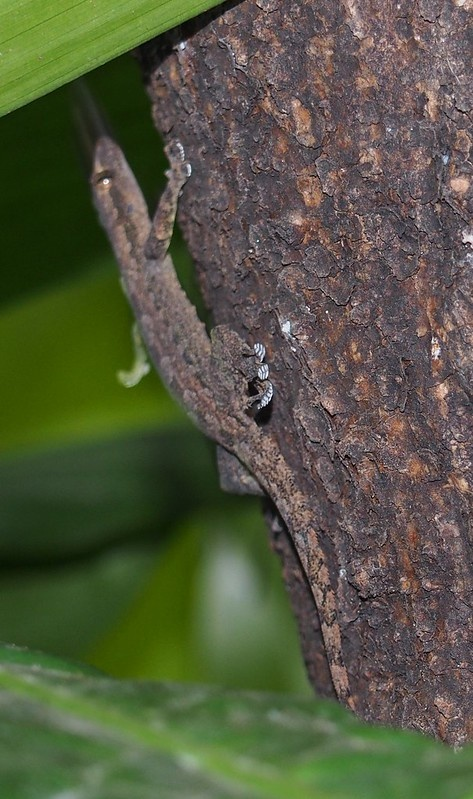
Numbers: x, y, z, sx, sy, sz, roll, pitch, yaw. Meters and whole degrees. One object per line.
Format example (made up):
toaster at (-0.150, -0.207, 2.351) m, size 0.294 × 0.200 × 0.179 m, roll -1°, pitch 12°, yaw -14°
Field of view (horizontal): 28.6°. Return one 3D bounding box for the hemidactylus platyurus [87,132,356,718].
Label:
hemidactylus platyurus at (-0.105, -0.119, 1.469) m, size 0.126 × 1.127 × 0.271 m, roll -20°, pitch -13°, yaw 9°
